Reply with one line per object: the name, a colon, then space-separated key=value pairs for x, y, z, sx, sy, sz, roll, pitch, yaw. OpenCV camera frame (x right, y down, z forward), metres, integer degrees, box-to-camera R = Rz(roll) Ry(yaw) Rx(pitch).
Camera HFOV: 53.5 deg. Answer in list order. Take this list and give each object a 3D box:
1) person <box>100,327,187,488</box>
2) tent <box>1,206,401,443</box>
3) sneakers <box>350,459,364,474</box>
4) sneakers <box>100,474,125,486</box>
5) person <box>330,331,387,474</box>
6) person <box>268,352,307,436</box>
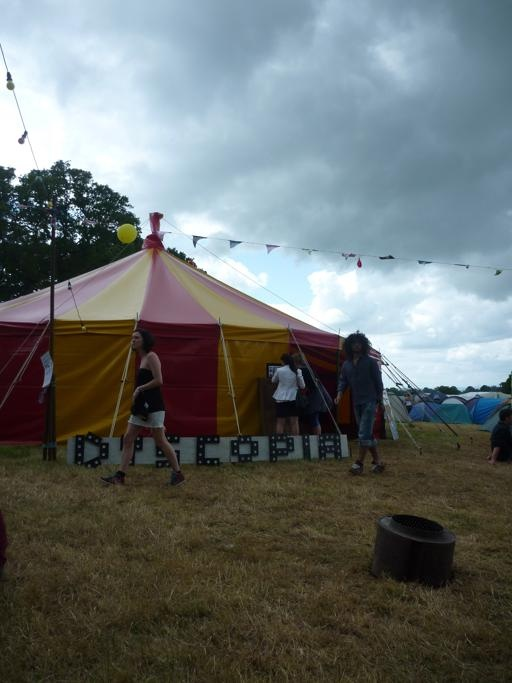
person: x=-1.110 y=0.653 z=5.177 sx=0.695 sy=1.486 sz=1.467 roll=-2 pitch=-4 yaw=-9
tent: x=-1.501 y=0.077 z=8.150 sx=4.470 sy=2.300 sz=4.408 roll=-1 pitch=0 yaw=-25
sneakers: x=1.087 y=1.379 z=5.510 sx=0.102 sy=0.149 sz=0.149 roll=-4 pitch=-4 yaw=24
sneakers: x=-1.293 y=1.282 z=4.651 sx=0.235 sy=0.098 sz=0.078 roll=2 pitch=-7 yaw=-2
person: x=1.179 y=0.689 z=5.768 sx=0.498 sy=1.580 sz=0.530 roll=-2 pitch=-4 yaw=-3
person: x=0.457 y=0.741 z=7.055 sx=0.416 sy=1.116 sz=0.726 roll=-2 pitch=-4 yaw=1
